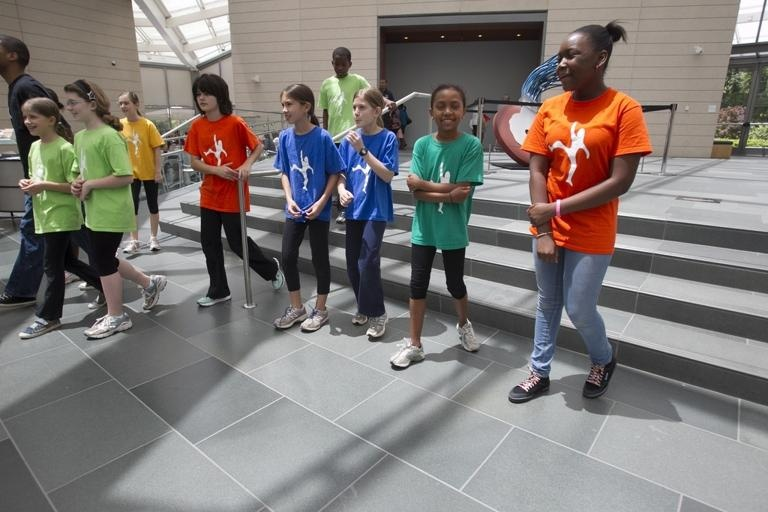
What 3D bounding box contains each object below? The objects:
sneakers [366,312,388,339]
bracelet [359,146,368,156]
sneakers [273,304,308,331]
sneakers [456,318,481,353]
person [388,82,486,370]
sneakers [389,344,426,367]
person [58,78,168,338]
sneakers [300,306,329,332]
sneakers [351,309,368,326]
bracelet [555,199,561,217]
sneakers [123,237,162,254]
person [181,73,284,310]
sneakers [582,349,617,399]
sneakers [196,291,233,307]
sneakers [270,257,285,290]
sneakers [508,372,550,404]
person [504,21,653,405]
[{"bbox_3d":[-0.065,0.602,3.586,0.118,0.121,0.275,2,25,23],"label":"sneakers"},{"bbox_3d":[-0.164,-0.826,3.205,0.077,0.049,0.070,0,-13,-27],"label":"bracelet"},{"bbox_3d":[-0.863,0.557,3.812,0.373,0.164,0.144,-21,13,-36],"label":"sneakers"},{"bbox_3d":[0.692,0.671,3.328,0.148,0.128,0.296,-33,56,6],"label":"sneakers"},{"bbox_3d":[0.402,-0.224,3.120,0.756,2.028,0.651,-5,22,-6],"label":"person"},{"bbox_3d":[0.185,0.764,3.211,0.268,0.116,0.134,-11,18,-31],"label":"sneakers"},{"bbox_3d":[-2.447,-0.403,3.518,0.629,2.085,0.807,-6,22,-9],"label":"person"},{"bbox_3d":[-0.626,0.566,3.734,0.127,0.119,0.296,10,22,28],"label":"sneakers"},{"bbox_3d":[-0.233,0.574,3.764,0.097,0.085,0.206,0,5,2],"label":"sneakers"},{"bbox_3d":[1.071,-0.295,2.511,0.038,0.113,0.076,7,23,22],"label":"bracelet"},{"bbox_3d":[-3.253,-0.180,5.556,0.205,0.232,0.548,11,13,21],"label":"sneakers"},{"bbox_3d":[-1.568,-0.618,4.013,0.838,2.181,0.601,-9,23,-15],"label":"person"},{"bbox_3d":[1.490,0.824,2.896,0.382,0.157,0.130,-50,33,-16],"label":"sneakers"},{"bbox_3d":[-1.742,0.445,4.174,0.316,0.096,0.114,-9,14,-40],"label":"sneakers"},{"bbox_3d":[-1.143,0.200,4.332,0.139,0.367,0.151,-2,14,40],"label":"sneakers"},{"bbox_3d":[1.007,0.900,2.904,0.380,0.157,0.136,-11,20,-24],"label":"sneakers"},{"bbox_3d":[1.250,-0.181,2.594,0.765,2.352,0.573,4,23,17],"label":"person"}]
